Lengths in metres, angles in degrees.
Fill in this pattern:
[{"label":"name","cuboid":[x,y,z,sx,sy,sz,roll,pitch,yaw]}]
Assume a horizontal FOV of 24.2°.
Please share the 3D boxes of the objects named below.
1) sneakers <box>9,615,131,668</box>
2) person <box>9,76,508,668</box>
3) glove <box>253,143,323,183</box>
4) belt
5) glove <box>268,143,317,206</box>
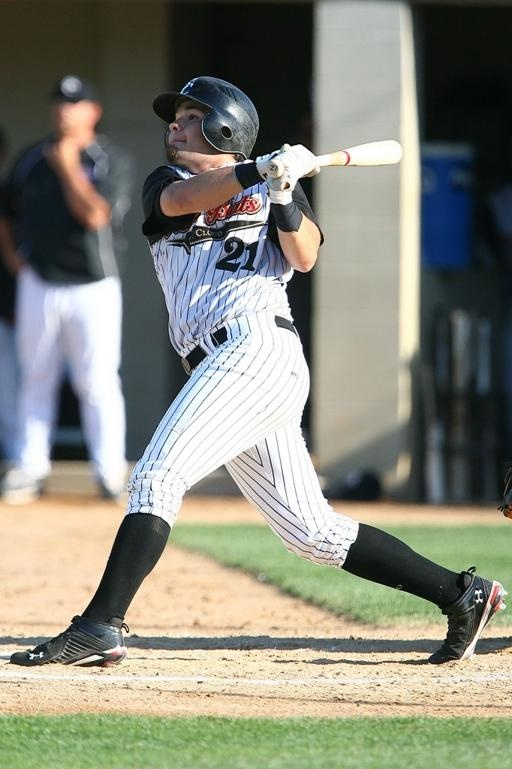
[{"label":"sneakers","cuboid":[-0.385,0.564,2.651,0.298,0.128,0.095,3,-3,-1]},{"label":"person","cuboid":[0.001,-0.011,2.727,1.069,1.391,0.405,1,3,-10]},{"label":"glove","cuboid":[0.060,-0.450,2.590,0.116,0.040,0.108,23,33,17]},{"label":"belt","cuboid":[-0.047,-0.096,2.737,0.173,0.043,0.169,-28,-9,-38]},{"label":"glove","cuboid":[0.082,-0.456,2.592,0.065,0.098,0.140,33,34,-2]}]
